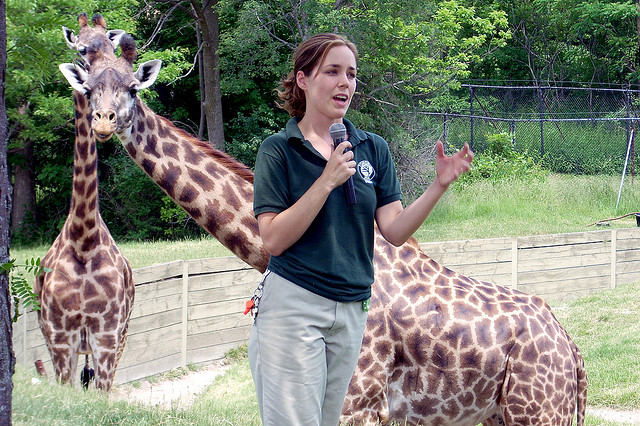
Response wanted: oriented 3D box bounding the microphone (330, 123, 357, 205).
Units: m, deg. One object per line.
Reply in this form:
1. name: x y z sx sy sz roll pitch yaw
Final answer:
1. microphone: 0.234 -0.499 7.574 0.164 0.812 0.243 -4 4 -35
